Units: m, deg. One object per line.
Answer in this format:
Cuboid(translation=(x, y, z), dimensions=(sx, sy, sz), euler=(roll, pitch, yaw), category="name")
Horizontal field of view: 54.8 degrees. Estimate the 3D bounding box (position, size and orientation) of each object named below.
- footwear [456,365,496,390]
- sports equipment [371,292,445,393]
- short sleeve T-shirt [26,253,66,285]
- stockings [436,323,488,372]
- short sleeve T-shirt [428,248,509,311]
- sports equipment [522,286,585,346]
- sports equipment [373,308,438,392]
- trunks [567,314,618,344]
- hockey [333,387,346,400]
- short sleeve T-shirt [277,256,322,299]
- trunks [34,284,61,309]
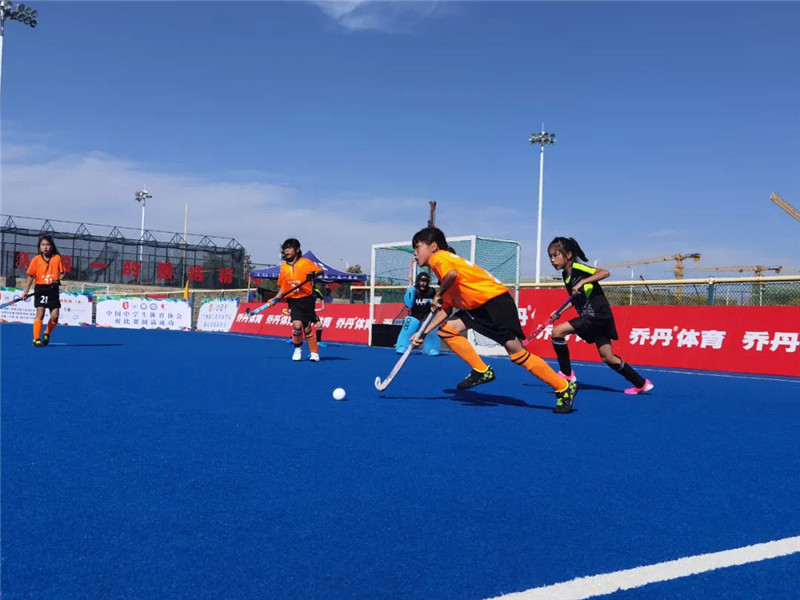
Cuboid(translation=(0.819, 0.809, 8.005), dimensions=(0.394, 0.205, 0.145), euler=(-24, 10, 13), category="footwear")
Cuboid(translation=(0.152, 0.626, 11.360), dimensions=(0.242, 1.176, 0.279), euler=(28, -8, -32), category="sports equipment")
Cuboid(translation=(-5.502, -0.480, 11.914), dimensions=(0.535, 0.446, 0.360), euler=(-2, 15, -16), category="short sleeve T-shirt")
Cuboid(translation=(0.792, 0.592, 9.364), dimensions=(0.219, 0.710, 0.211), euler=(-39, -4, -25), category="stockings")
Cuboid(translation=(0.625, -0.198, 6.988), dimensions=(0.586, 0.214, 0.589), euler=(26, -14, -7), category="short sleeve T-shirt")
Cuboid(translation=(2.259, 0.245, 11.036), dimensions=(1.471, 0.205, 0.151), euler=(-37, 26, -14), category="sports equipment")
Cuboid(translation=(0.119, 0.729, 11.195), dimensions=(0.202, 1.024, 0.118), euler=(41, -11, 1), category="sports equipment")
Cuboid(translation=(2.095, 0.314, 8.112), dimensions=(0.448, 0.343, 0.280), euler=(-2, -10, -1), category="trunks")
Cuboid(translation=(-0.549, 0.857, 7.082), dimensions=(0.107, 0.090, 0.191), euler=(-1, 15, -10), category="hockey")
Cuboid(translation=(-1.339, -0.293, 10.384), dimensions=(0.684, 0.601, 0.438), euler=(4, 15, 8), category="short sleeve T-shirt")
Cuboid(translation=(-5.488, -0.070, 11.915), dimensions=(0.269, 0.484, 0.382), euler=(6, 3, 37), category="trunks")
